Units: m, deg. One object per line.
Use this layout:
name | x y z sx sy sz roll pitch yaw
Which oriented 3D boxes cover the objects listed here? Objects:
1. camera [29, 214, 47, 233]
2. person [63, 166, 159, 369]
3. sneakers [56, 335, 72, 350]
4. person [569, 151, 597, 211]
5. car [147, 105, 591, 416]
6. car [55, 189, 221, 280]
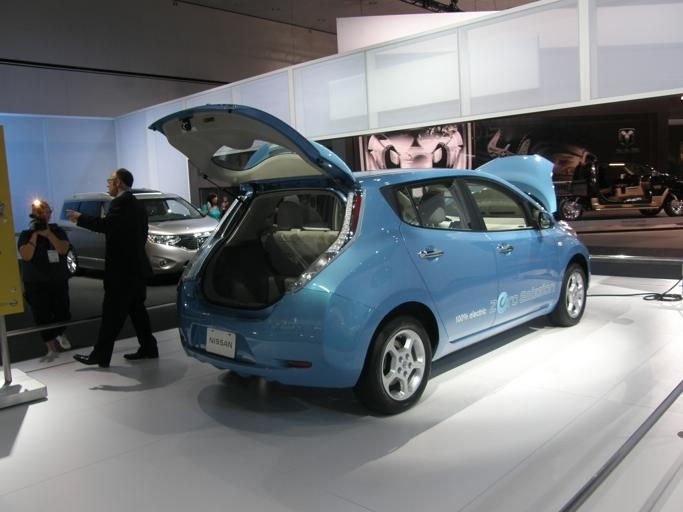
camera | -3.290 -0.346 4.663 0.175 0.162 0.101 5 11 26
person | -2.309 0.267 4.411 0.684 1.816 0.345 -5 11 -26
sneakers | -3.402 1.072 5.295 0.127 0.153 0.371 -8 -15 -18
person | 7.971 -2.470 14.174 0.450 1.627 1.087 3 -2 -21
car | 0.635 -0.052 4.159 2.179 1.963 3.816 5 12 42
car | -4.474 -0.458 8.922 3.518 1.746 2.029 2 4 38
